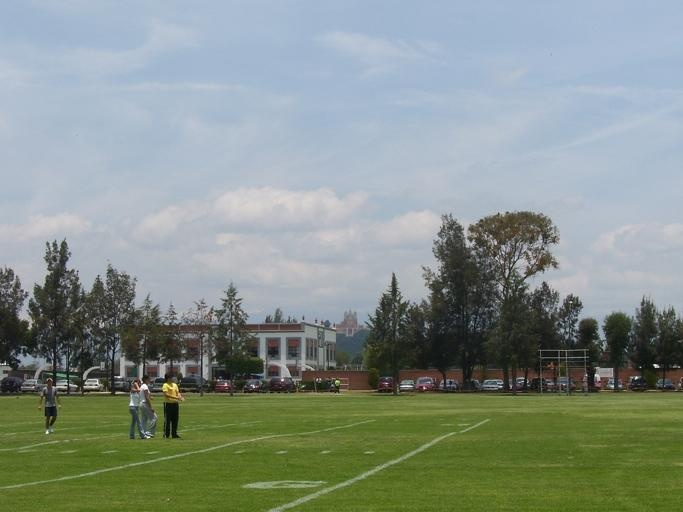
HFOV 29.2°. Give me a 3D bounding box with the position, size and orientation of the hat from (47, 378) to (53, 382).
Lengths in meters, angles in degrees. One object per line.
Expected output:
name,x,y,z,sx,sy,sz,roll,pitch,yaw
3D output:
hat,-13.115,5.521,59.065,0.267,0.291,0.371,0,-13,-10

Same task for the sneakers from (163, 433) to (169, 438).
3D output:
sneakers,-7.325,7.515,55.022,0.250,0.181,0.437,1,-10,-8

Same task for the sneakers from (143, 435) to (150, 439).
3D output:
sneakers,-8.124,7.520,55.056,0.262,0.175,0.416,-5,-11,25
